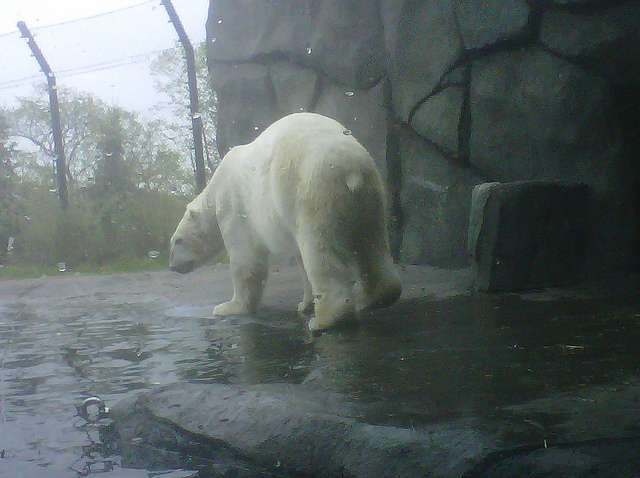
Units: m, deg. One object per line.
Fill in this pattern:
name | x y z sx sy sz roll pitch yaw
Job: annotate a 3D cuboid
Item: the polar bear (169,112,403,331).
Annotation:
polar bear | -0.209 -0.110 3.834 0.399 1.117 1.405 -13 9 -42
